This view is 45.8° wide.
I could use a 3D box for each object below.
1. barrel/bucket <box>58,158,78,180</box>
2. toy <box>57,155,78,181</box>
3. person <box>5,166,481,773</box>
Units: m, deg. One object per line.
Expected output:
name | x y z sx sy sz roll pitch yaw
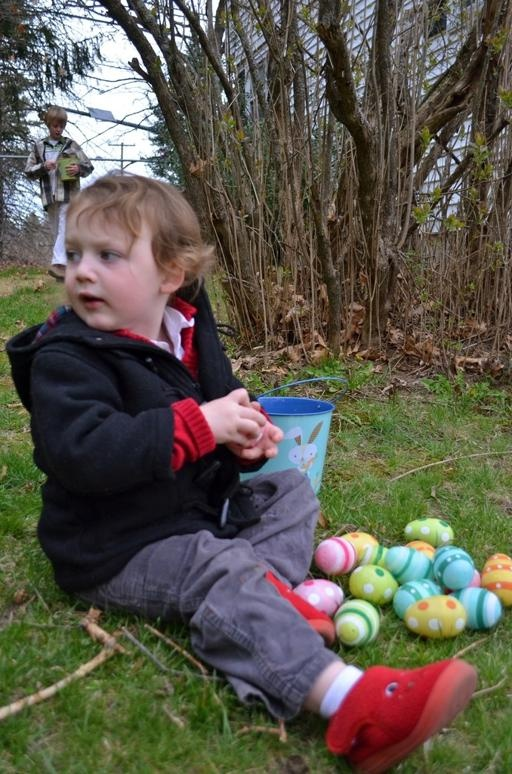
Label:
barrel/bucket | -1.756 -2.048 5.801 0.197 0.200 0.185 -3 -1 0
toy | -1.764 -2.051 5.702 0.217 0.210 0.185 -1 -1 11
person | -0.006 0.052 1.283 1.019 1.004 0.726 13 16 40
